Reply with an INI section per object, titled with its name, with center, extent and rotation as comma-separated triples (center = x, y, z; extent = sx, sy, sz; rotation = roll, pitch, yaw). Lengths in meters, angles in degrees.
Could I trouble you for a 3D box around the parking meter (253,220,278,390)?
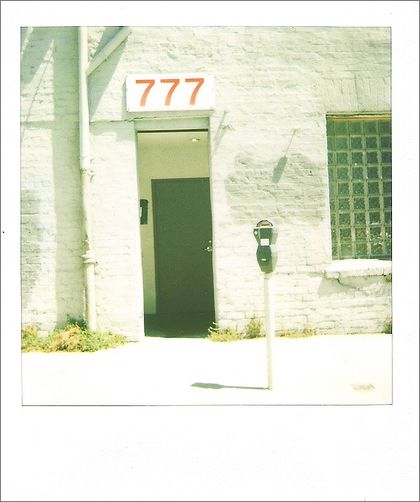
[parking meter]
center = 0.468, 0.442, 6.122
extent = 0.184, 1.363, 0.480
rotation = -2, -6, 4
